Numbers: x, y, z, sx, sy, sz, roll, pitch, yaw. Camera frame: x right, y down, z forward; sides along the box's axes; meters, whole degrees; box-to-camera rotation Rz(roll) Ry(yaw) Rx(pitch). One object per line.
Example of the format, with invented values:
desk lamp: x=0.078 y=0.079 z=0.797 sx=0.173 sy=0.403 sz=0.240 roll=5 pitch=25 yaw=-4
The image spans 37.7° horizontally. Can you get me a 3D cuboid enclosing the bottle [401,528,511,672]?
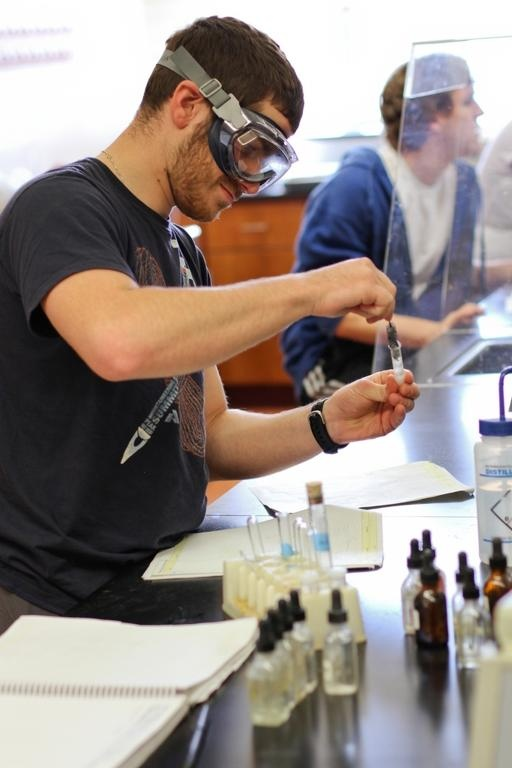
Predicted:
bottle: x=0.212 y=0.210 z=0.742 sx=0.111 sy=0.102 sz=0.095 roll=-7 pitch=5 yaw=-4

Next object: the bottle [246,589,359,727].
bottle: x=0.044 y=0.244 z=0.665 sx=0.040 sy=0.099 sz=0.120 roll=-2 pitch=1 yaw=42

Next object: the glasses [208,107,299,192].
glasses: x=0.005 y=-0.392 z=1.240 sx=0.063 sy=0.120 sz=0.093 roll=-43 pitch=-11 yaw=-28
